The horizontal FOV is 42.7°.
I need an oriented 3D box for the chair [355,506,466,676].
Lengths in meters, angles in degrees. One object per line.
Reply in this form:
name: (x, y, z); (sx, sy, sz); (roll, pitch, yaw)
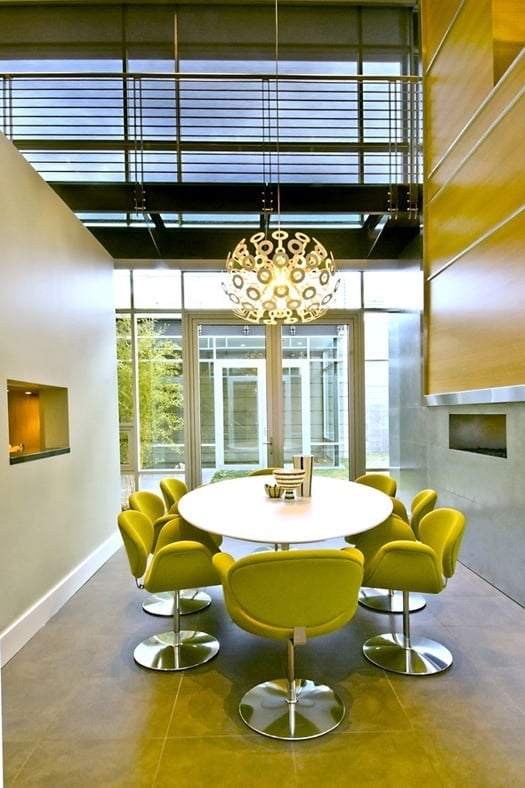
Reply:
chair: (0.854, 1.026, 3.832); (0.698, 1.181, 0.785); (0, -4, 6)

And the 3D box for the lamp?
lamp: (0.122, -1.719, 4.945); (0.814, 2.579, 2.064); (-1, 11, 1)

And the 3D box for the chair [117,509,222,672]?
chair: (-0.471, 1.072, 3.887); (0.692, 1.025, 0.780); (0, 1, -6)

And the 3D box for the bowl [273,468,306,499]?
bowl: (0.172, 0.536, 4.088); (0.166, 0.146, 0.162); (0, -5, 0)

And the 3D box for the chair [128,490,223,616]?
chair: (-0.566, 1.006, 4.129); (0.684, 0.879, 0.718); (0, 0, 2)

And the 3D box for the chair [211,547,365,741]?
chair: (0.116, 1.069, 3.107); (0.631, 0.938, 0.461); (-2, 11, -5)

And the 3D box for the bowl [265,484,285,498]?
bowl: (0.067, 0.580, 4.103); (0.080, 0.059, 0.083); (2, -2, 0)

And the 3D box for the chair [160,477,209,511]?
chair: (-0.562, 0.677, 4.676); (0.208, 0.244, 0.223); (-4, -5, 36)

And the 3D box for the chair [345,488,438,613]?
chair: (0.758, 0.976, 4.135); (0.704, 0.879, 0.682); (1, -4, -2)
